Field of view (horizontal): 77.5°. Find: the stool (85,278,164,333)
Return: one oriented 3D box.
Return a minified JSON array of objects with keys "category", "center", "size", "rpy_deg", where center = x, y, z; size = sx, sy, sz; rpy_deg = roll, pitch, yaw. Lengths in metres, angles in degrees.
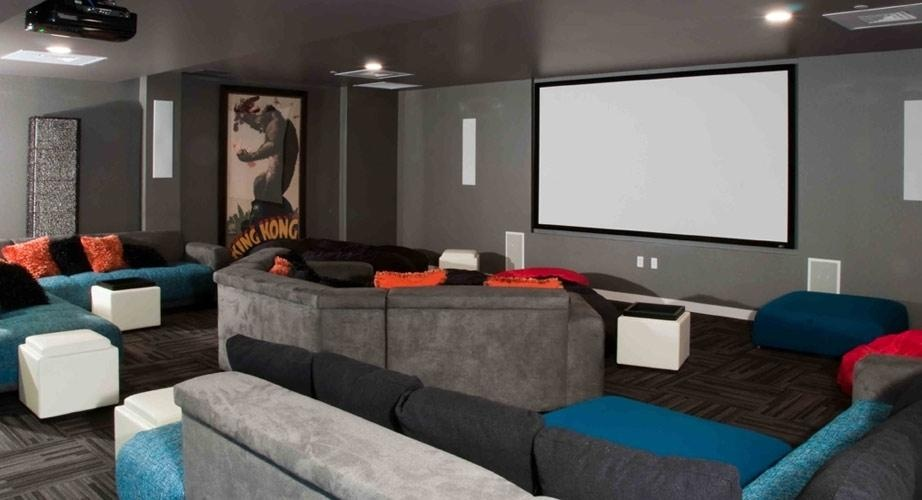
[{"category":"stool","center":[-4.229,0.635,7.276],"size":[0.772,0.573,0.761],"rpy_deg":[-2,3,-41]}]

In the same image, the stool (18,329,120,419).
[{"category":"stool","center":[-3.716,1.079,5.615],"size":[0.804,0.658,0.809],"rpy_deg":[27,23,33]}]

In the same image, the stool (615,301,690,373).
[{"category":"stool","center":[2.240,0.996,6.680],"size":[0.947,0.545,0.884],"rpy_deg":[-1,5,7]}]
